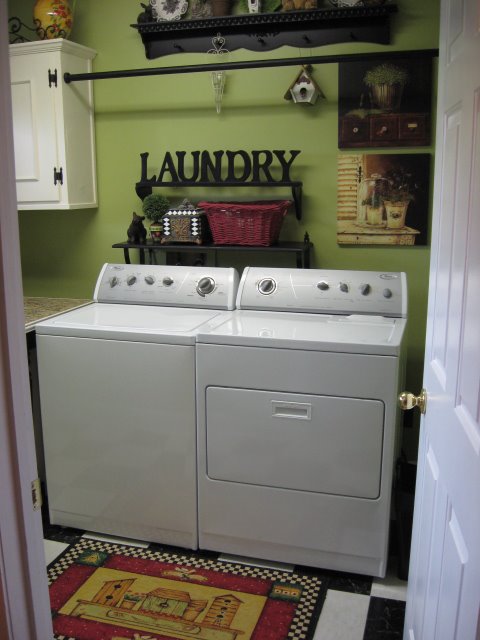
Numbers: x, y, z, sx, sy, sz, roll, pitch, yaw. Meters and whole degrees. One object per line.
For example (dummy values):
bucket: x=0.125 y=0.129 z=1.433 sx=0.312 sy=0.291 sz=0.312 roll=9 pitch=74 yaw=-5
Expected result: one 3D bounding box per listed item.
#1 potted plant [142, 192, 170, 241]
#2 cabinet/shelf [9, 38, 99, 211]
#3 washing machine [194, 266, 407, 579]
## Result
potted plant: x=-0.458 y=-0.567 z=2.675 sx=0.138 sy=0.264 sz=0.333 roll=-1 pitch=8 yaw=-9
cabinet/shelf: x=-0.983 y=-1.041 z=2.599 sx=0.435 sy=0.870 sz=0.287 roll=-3 pitch=8 yaw=-25
washing machine: x=0.275 y=0.408 z=2.059 sx=0.786 sy=1.155 sz=0.575 roll=3 pitch=8 yaw=20
